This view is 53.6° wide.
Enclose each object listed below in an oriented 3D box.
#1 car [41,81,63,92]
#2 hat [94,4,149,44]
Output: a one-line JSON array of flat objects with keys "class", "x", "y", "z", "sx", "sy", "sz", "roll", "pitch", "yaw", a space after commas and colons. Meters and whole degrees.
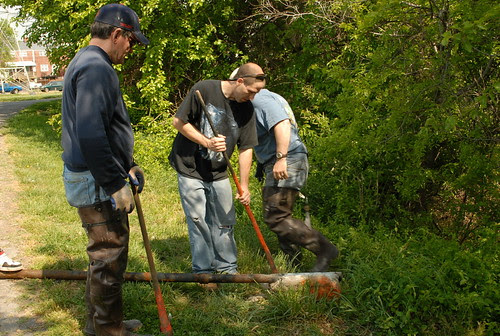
[{"class": "car", "x": -20.445, "y": -8.310, "z": 51.154, "sx": 1.823, "sy": 1.106, "sz": 2.733, "roll": -1, "pitch": 9, "yaw": -31}, {"class": "hat", "x": -1.442, "y": -1.650, "z": 5.676, "sx": 0.591, "sy": 0.324, "sz": 0.397, "roll": 17, "pitch": 13, "yaw": -25}]
